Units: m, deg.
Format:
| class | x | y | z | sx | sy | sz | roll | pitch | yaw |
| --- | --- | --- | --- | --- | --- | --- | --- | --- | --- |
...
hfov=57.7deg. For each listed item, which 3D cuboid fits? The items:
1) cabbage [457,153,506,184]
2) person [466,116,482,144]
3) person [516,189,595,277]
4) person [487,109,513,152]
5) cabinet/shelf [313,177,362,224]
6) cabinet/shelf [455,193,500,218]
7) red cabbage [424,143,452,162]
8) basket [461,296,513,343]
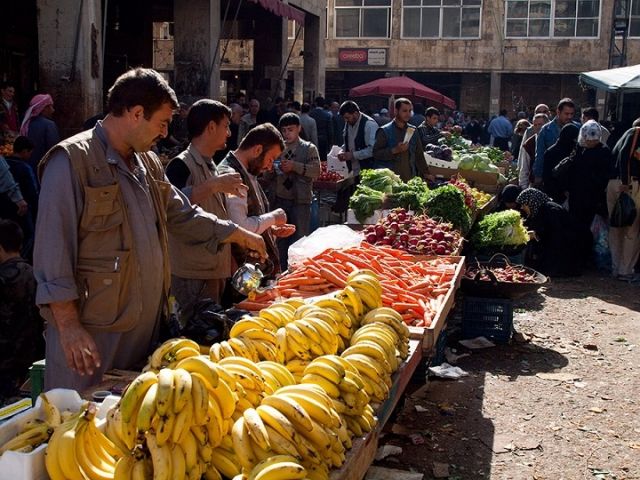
| class | x | y | z | sx | sy | sz | roll | pitch | yaw |
| --- | --- | --- | --- | --- | --- | --- | --- | --- | --- |
| cabbage | 2.735 | -1.237 | 10.025 | 0.535 | 0.236 | 0.658 | 21 | 38 | 10 |
| person | 6.060 | -4.256 | 22.731 | 0.515 | 0.782 | 0.925 | -5 | 14 | -23 |
| person | 3.660 | -0.180 | 9.285 | 0.944 | 1.271 | 0.861 | -2 | 6 | 7 |
| person | 6.590 | -3.813 | 21.195 | 0.673 | 2.208 | 0.661 | 10 | 42 | 26 |
| cabinet/shelf | 0.225 | -0.737 | 10.179 | 0.578 | 0.567 | 0.988 | -1 | 12 | 3 |
| cabinet/shelf | 2.225 | -0.512 | 8.332 | 0.533 | 0.127 | 0.470 | -49 | 24 | -23 |
| red cabbage | 2.030 | -1.523 | 10.011 | 0.322 | 0.161 | 0.335 | 21 | -2 | -5 |
| basket | 1.875 | 0.889 | 6.614 | 0.456 | 0.425 | 0.505 | 1 | 1 | 25 |
